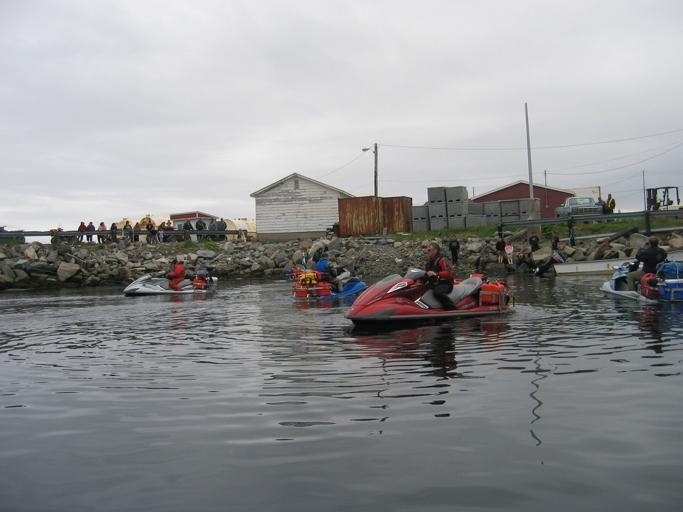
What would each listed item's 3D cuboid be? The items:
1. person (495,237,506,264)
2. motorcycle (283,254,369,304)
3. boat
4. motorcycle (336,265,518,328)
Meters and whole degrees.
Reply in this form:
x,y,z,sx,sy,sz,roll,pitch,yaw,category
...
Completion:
x,y,z,sx,sy,sz,roll,pitch,yaw,category
8.259,-0.293,36.575,0.462,1.387,1.195,-3,9,11,person
-0.191,0.989,23.762,2.837,0.752,1.416,1,9,-14,motorcycle
11.076,0.371,29.098,5.551,0.476,1.281,-3,5,16,boat
1.908,0.922,15.488,3.404,0.707,1.389,-1,-3,-22,motorcycle
